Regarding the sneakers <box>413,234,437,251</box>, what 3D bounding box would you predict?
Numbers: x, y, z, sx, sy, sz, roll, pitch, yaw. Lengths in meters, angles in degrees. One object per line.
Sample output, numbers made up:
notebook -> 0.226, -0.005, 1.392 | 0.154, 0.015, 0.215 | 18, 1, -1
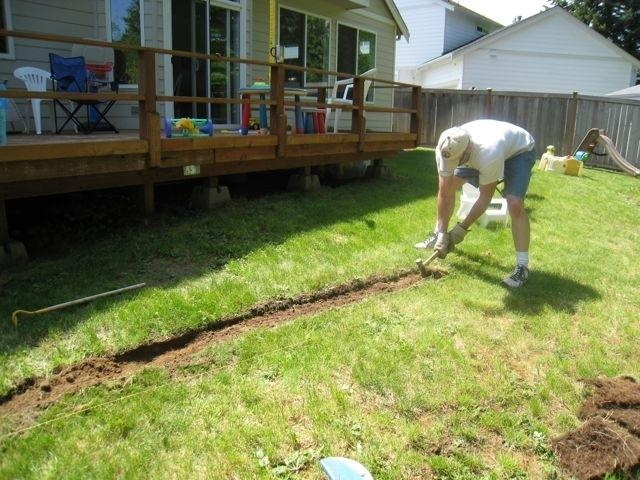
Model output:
sneakers -> 1.375, 0.031, 6.317 | 0.378, 0.178, 0.129 | -11, 19, -34

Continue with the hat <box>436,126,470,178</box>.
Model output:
hat -> 1.492, -0.964, 5.573 | 0.340, 0.588, 0.447 | 5, 20, 13

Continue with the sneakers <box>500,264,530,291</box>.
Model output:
sneakers -> 2.189, 0.394, 5.437 | 0.352, 0.189, 0.253 | 0, 20, -2

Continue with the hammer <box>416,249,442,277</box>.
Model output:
hammer -> 1.271, 0.282, 5.750 | 0.348, 0.358, 0.058 | -39, 27, -22

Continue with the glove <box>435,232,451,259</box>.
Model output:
glove -> 1.415, 0.059, 5.657 | 0.158, 0.297, 0.283 | 9, -23, 20

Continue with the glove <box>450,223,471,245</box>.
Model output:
glove -> 1.664, -0.062, 5.840 | 0.162, 0.241, 0.141 | 32, -4, -23
